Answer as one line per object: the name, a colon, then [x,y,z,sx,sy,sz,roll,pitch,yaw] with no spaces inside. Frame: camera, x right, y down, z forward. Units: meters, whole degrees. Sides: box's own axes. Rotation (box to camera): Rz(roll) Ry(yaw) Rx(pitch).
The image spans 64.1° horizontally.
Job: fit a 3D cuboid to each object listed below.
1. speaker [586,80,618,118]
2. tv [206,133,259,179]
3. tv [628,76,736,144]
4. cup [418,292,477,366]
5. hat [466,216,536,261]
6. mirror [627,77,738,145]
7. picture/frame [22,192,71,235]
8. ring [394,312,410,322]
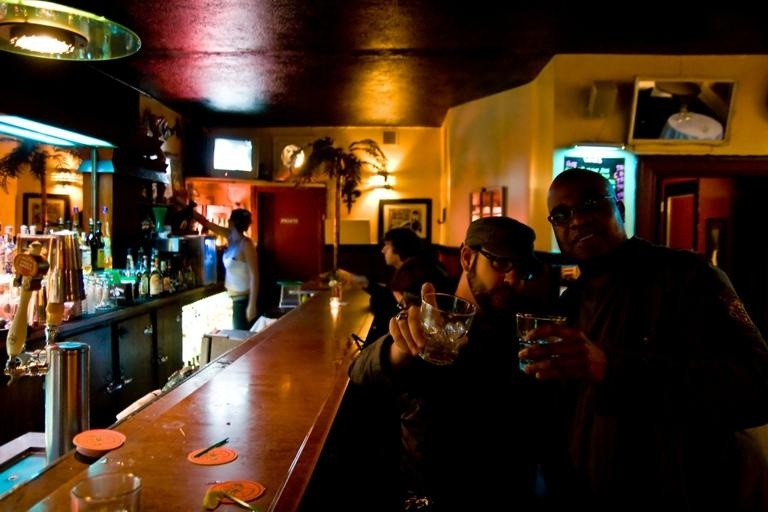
speaker: [2.106,-1.524,5.951,0.290,0.344,0.273,1,2,11]
tv: [-2.105,-1.409,8.925,0.774,0.605,0.408,5,6,11]
tv: [2.864,-1.401,5.984,0.955,0.595,0.112,1,2,2]
cup: [0.302,0.345,3.298,0.352,0.361,0.353,13,5,-1]
hat: [0.692,-0.135,3.639,0.383,0.227,0.463,3,6,-21]
mirror: [2.892,-1.436,5.986,0.725,0.454,0.028,1,10,2]
picture/frame: [-3.187,-0.398,5.768,0.047,0.362,0.541,-2,0,23]
ring: [0.087,0.312,3.222,0.052,0.016,0.050,-7,12,1]
